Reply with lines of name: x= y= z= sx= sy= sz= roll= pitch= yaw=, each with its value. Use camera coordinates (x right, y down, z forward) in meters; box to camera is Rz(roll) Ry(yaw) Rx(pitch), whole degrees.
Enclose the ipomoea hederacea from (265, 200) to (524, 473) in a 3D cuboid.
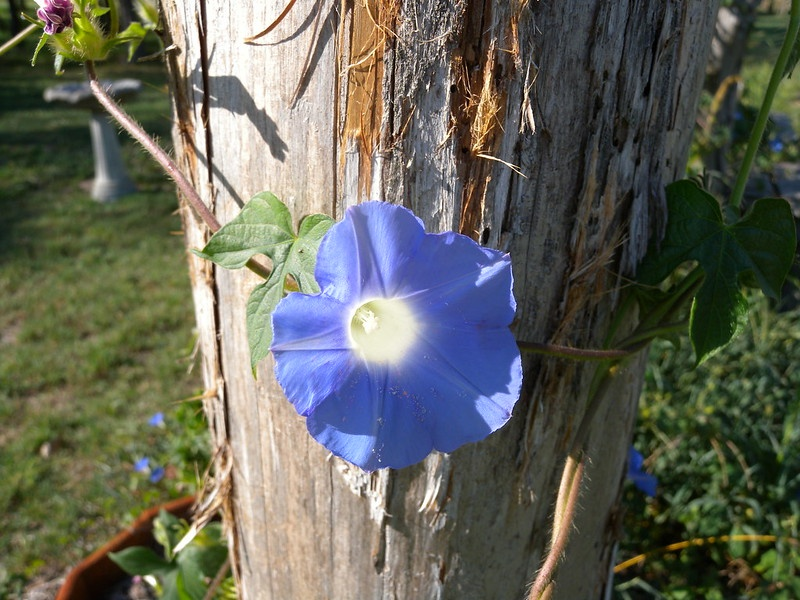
ipomoea hederacea: x=-0.075 y=0.038 z=2.332 sx=0.309 sy=0.816 sz=0.877 roll=31 pitch=48 yaw=-25
